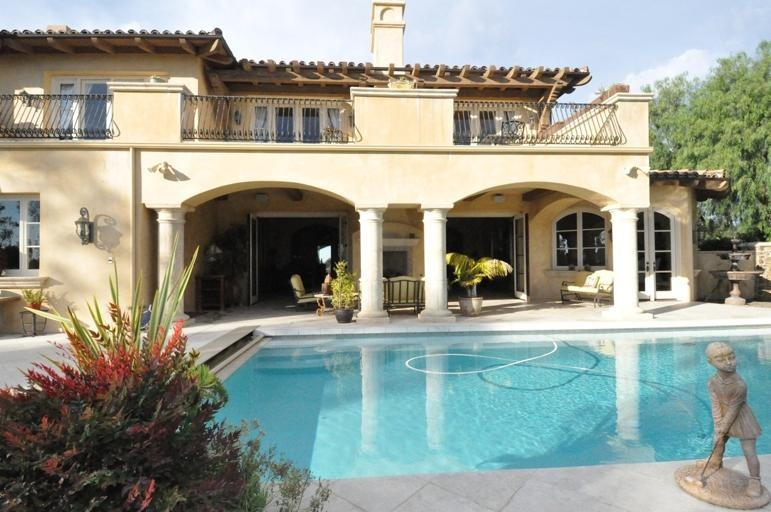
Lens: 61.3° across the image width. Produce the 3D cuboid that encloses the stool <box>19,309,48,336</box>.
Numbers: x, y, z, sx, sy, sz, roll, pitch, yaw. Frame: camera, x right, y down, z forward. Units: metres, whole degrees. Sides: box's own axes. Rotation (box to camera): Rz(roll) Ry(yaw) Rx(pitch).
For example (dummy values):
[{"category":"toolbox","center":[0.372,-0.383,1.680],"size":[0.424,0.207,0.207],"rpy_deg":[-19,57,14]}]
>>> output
[{"category":"stool","center":[-9.103,1.724,16.967],"size":[0.768,0.689,0.743],"rpy_deg":[0,-1,-33]}]

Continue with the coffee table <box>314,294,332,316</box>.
[{"category":"coffee table","center":[-1.803,1.386,18.737],"size":[0.625,0.442,0.617],"rpy_deg":[1,0,-3]}]

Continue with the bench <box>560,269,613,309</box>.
[{"category":"bench","center":[6.094,0.944,19.620],"size":[0.845,0.920,1.633],"rpy_deg":[-3,2,-26]}]

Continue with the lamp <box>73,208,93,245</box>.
[{"category":"lamp","center":[-7.835,-0.807,16.932],"size":[0.471,0.897,0.392],"rpy_deg":[0,-4,-36]}]

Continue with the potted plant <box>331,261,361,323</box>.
[{"category":"potted plant","center":[-1.152,0.925,18.425],"size":[0.704,1.569,2.622],"rpy_deg":[-2,2,-3]}]

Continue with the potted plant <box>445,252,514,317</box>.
[{"category":"potted plant","center":[2.597,0.777,19.329],"size":[2.059,1.514,1.975],"rpy_deg":[1,-2,-2]}]

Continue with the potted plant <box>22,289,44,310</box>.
[{"category":"potted plant","center":[-8.837,1.070,16.310],"size":[0.531,0.534,0.554],"rpy_deg":[1,-3,-6]}]

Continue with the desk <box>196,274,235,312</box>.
[{"category":"desk","center":[-5.329,1.100,20.121],"size":[0.891,1.026,1.092],"rpy_deg":[0,3,-9]}]

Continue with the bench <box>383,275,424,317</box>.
[{"category":"bench","center":[0.553,1.042,18.965],"size":[1.361,1.175,1.016],"rpy_deg":[0,4,0]}]
